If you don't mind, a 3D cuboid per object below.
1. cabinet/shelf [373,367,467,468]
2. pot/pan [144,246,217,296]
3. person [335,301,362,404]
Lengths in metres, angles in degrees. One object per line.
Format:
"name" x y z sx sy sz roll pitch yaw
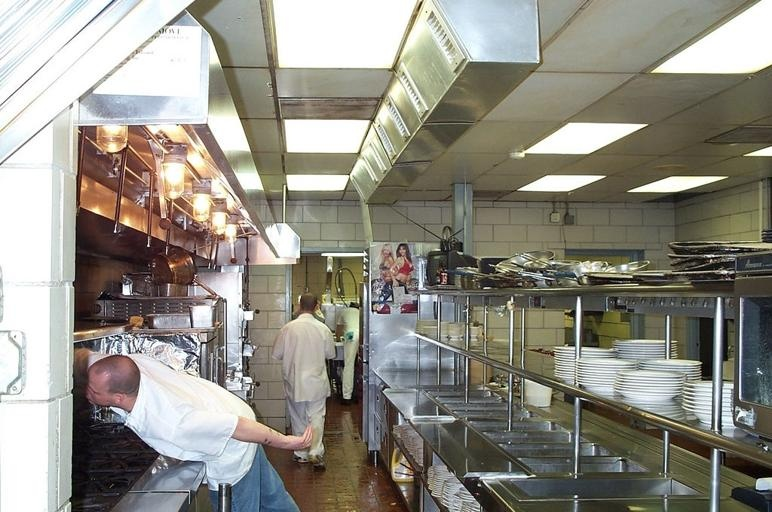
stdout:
"cabinet/shelf" 0.250 1.280 4.756 0.476 0.554 1.460 0 -3 -7
"pot/pan" -1.888 0.151 5.502 0.583 0.330 0.277 15 18 24
"person" -0.595 1.525 9.508 0.339 1.508 0.810 0 -7 -5
